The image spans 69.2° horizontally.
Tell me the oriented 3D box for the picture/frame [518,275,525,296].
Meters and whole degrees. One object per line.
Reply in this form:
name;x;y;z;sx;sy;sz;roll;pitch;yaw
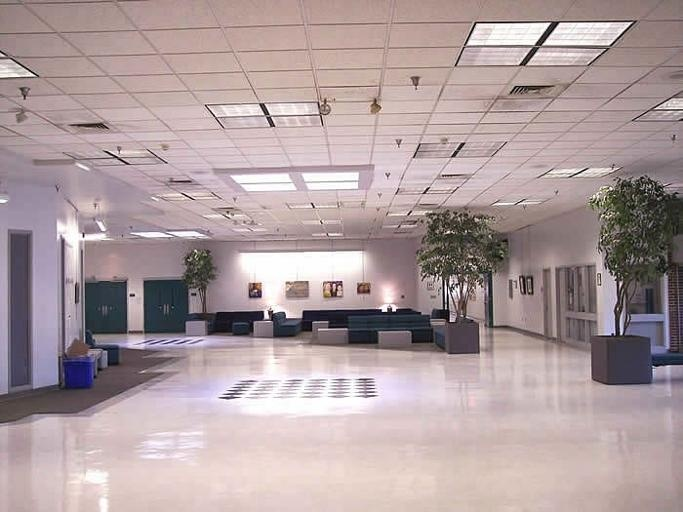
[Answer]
picture/frame;7.556;1.198;20.746;0.222;0.927;0.830;2;-3;8

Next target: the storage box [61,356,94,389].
storage box;-5.770;2.592;11.102;0.716;0.703;0.579;-1;-7;5

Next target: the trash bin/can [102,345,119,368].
trash bin/can;-6.597;2.894;14.393;0.584;0.567;0.467;0;3;-2

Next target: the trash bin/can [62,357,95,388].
trash bin/can;-5.894;2.573;10.914;0.716;0.530;0.547;0;-3;14

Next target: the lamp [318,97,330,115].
lamp;-0.257;-2.201;7.232;0.171;0.181;0.169;7;-38;-16
